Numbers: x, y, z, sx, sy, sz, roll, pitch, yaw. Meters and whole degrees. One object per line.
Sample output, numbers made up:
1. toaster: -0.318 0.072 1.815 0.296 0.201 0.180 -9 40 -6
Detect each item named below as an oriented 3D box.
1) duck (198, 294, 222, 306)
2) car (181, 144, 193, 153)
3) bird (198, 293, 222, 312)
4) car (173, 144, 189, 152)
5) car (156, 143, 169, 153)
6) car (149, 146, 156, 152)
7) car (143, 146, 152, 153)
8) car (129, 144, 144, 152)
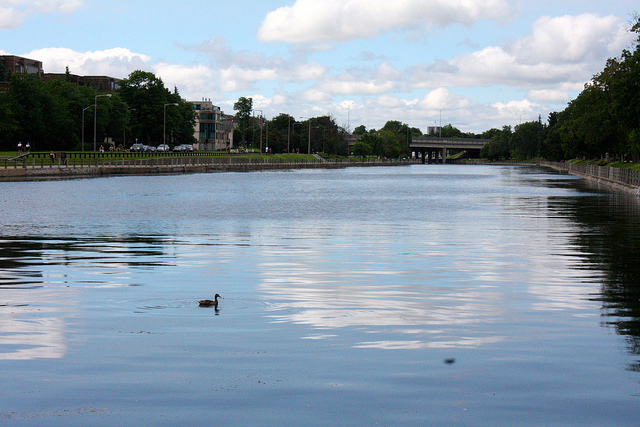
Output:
1. duck: -3.221 2.530 31.659 0.555 0.344 0.480 1 5 1
2. car: -22.721 -11.252 186.115 2.079 1.439 3.114 -1 -2 -12
3. bird: -3.224 2.624 31.568 0.889 0.590 0.263 -2 -3 4
4. car: -23.817 -11.079 185.519 2.469 1.551 3.529 0 4 -8
5. car: -23.997 -10.367 166.003 2.427 1.506 4.972 0 1 -11
6. car: -26.010 -10.105 169.951 1.256 0.834 1.888 0 -2 -15
7. car: -26.254 -9.809 165.817 1.824 0.717 2.589 -1 8 -19
8. car: -27.575 -9.864 164.432 2.280 1.033 1.407 8 9 42
